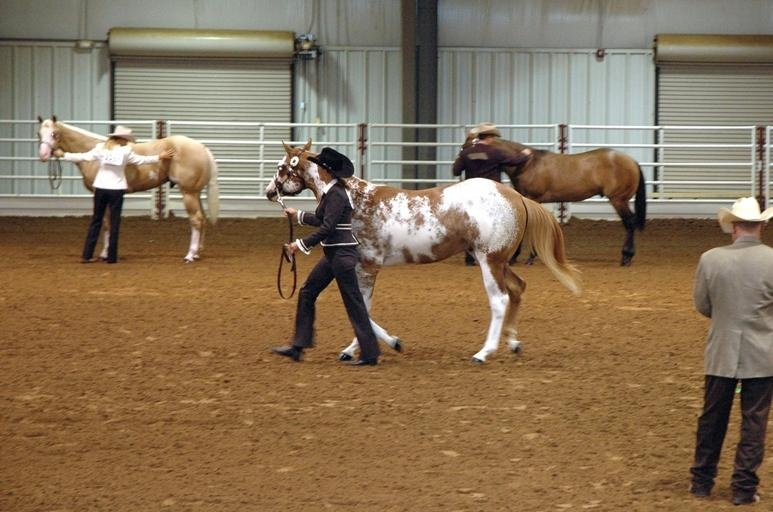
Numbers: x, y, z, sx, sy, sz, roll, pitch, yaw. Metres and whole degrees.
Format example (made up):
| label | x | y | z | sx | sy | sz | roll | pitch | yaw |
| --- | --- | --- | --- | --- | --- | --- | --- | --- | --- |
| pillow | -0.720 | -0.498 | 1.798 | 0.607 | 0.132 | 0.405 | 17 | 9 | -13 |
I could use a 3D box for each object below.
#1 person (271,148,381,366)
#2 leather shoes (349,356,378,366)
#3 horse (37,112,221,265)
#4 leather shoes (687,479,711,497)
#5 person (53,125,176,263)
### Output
| label | x | y | z | sx | sy | sz | roll | pitch | yaw |
| --- | --- | --- | --- | --- | --- | --- | --- | --- | --- |
| person | -0.568 | 0.009 | 9.542 | 1.031 | 2.230 | 0.534 | 1 | 10 | 3 |
| leather shoes | -0.226 | 1.076 | 9.637 | 0.319 | 0.103 | 0.093 | 3 | 4 | -2 |
| horse | -3.989 | -0.942 | 13.989 | 0.827 | 1.870 | 3.231 | 1 | 2 | 43 |
| leather shoes | 2.680 | 1.968 | 7.955 | 0.178 | 0.137 | 0.112 | -1 | 0 | 7 |
| person | -4.011 | -0.876 | 13.473 | 1.466 | 1.958 | 0.600 | -2 | 10 | -17 |
